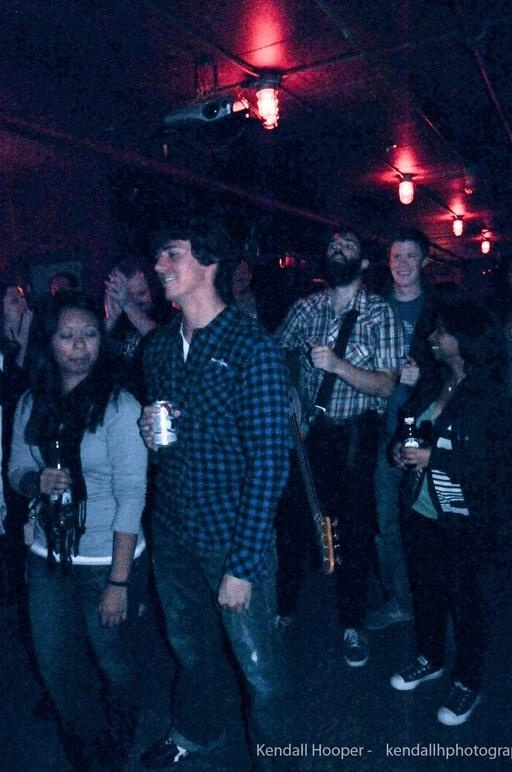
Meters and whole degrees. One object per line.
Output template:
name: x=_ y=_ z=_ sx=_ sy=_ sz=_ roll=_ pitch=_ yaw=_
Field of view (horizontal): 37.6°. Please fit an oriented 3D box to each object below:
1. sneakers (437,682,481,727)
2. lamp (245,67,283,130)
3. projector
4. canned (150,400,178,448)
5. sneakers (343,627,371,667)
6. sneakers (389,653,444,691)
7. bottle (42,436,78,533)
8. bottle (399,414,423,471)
sneakers: x=0.923 y=1.422 z=3.438 sx=0.101 sy=0.100 sz=0.278 roll=18 pitch=25 yaw=39
lamp: x=0.090 y=-2.386 z=6.291 sx=0.435 sy=0.516 sz=0.407 roll=-1 pitch=1 yaw=-2
projector: x=-0.463 y=-2.200 z=6.128 sx=0.799 sy=0.218 sz=0.449 roll=0 pitch=11 yaw=28
canned: x=-0.348 y=0.149 z=2.882 sx=0.096 sy=0.173 sz=0.053 roll=2 pitch=11 yaw=-6
sneakers: x=0.510 y=1.335 z=3.864 sx=0.115 sy=0.043 sz=0.181 roll=-2 pitch=33 yaw=5
sneakers: x=0.765 y=1.387 z=3.653 sx=0.314 sy=0.114 sz=0.106 roll=-6 pitch=48 yaw=-28
bottle: x=-0.787 y=0.395 z=3.052 sx=0.109 sy=0.332 sz=0.226 roll=0 pitch=11 yaw=-16
bottle: x=0.740 y=0.267 z=3.556 sx=0.121 sy=0.258 sz=0.175 roll=3 pitch=11 yaw=2
